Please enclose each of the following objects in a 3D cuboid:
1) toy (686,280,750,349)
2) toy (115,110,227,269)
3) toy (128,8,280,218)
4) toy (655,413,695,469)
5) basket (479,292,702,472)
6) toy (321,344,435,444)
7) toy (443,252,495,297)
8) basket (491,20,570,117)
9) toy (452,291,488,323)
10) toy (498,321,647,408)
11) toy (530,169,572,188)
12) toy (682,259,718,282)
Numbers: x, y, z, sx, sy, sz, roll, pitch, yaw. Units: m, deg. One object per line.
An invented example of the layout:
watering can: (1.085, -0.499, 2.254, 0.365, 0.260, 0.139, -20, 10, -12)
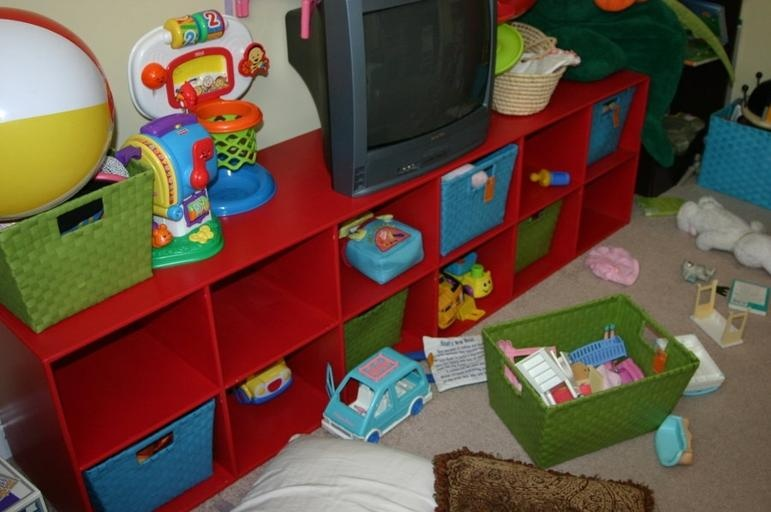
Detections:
toy: (1.317, 0.224, 2.434, 0.127, 0.142, 0.208, -9, 32, -10)
toy: (-0.633, -0.218, 1.822, 0.324, 0.375, 0.297, -16, 33, -39)
toy: (-0.540, -0.466, 2.005, 0.333, 0.579, 0.453, 29, 42, 36)
toy: (0.935, 0.602, 2.003, 0.137, 0.142, 0.052, 7, -4, 38)
basket: (0.657, 0.385, 2.088, 0.676, 0.396, 0.500, -19, 44, -14)
toy: (-0.022, 0.481, 2.170, 0.266, 0.193, 0.350, 29, 44, 34)
toy: (0.354, 0.074, 2.603, 0.128, 0.180, 0.185, -23, 31, -33)
basket: (0.515, -0.721, 2.445, 0.375, 0.151, 0.306, 29, 50, 36)
toy: (0.338, 0.219, 2.540, 0.078, 0.049, 0.136, -26, 43, -19)
toy: (0.655, 0.382, 2.114, 0.309, 0.106, 0.264, -16, 39, -16)
toy: (0.712, -0.331, 2.633, 0.138, 0.055, 0.081, 1, 28, 0)
toy: (1.366, 0.073, 2.673, 0.110, 0.049, 0.091, 16, 52, 33)
